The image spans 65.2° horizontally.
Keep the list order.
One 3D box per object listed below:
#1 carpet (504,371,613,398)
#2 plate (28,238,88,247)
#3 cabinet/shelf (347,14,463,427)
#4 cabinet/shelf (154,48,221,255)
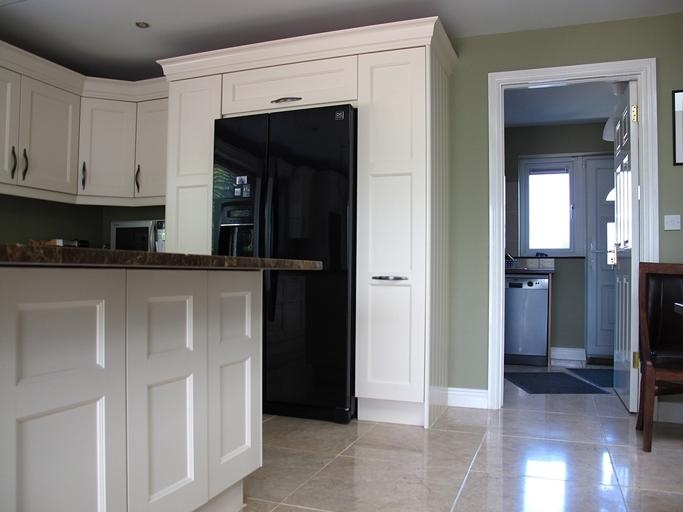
[{"bbox_3d":[1.901,1.152,4.862,0.728,0.067,0.868,0,4,-1],"label":"carpet"},{"bbox_3d":[-2.434,-0.109,4.633,0.356,0.078,0.744,-1,4,-19],"label":"plate"},{"bbox_3d":[0.405,-0.215,3.743,0.882,2.715,0.617,0,4,-6],"label":"cabinet/shelf"},{"bbox_3d":[-1.173,-0.775,4.164,0.517,1.497,0.150,2,4,26],"label":"cabinet/shelf"}]
